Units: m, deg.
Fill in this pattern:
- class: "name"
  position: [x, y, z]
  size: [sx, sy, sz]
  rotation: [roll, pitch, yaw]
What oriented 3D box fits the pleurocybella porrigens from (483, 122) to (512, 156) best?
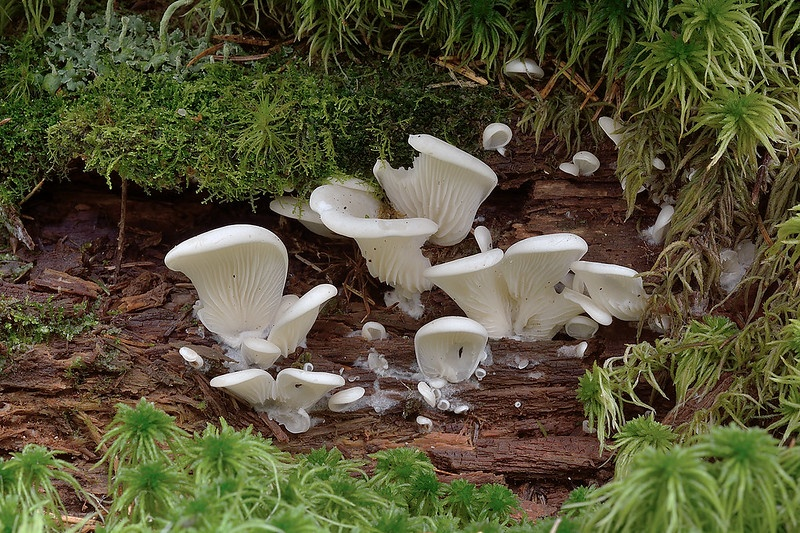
- class: "pleurocybella porrigens"
  position: [0.682, -0.922, 5.409]
  size: [0.190, 0.219, 0.089]
  rotation: [-26, 29, -3]
